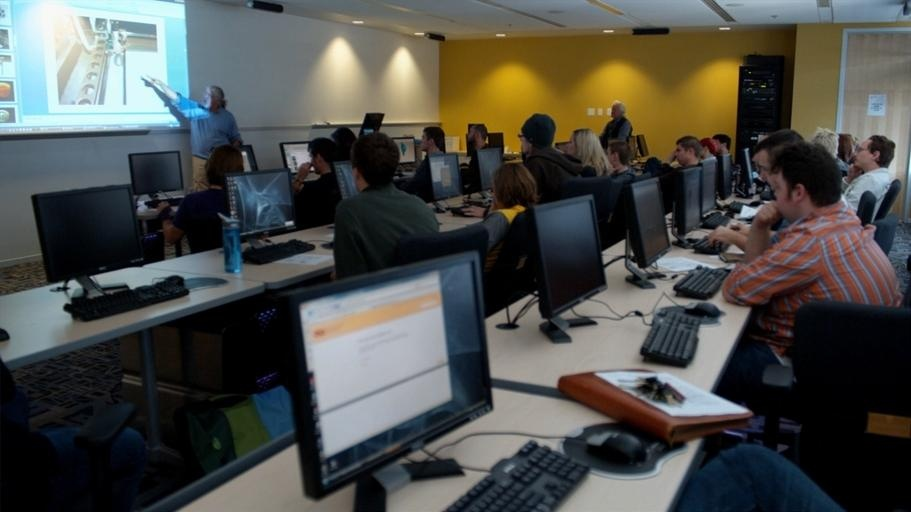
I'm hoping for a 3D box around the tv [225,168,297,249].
[{"bbox_3d":[-1.501,-0.360,4.348,0.060,0.489,0.605,0,12,41],"label":"tv"}]

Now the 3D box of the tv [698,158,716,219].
[{"bbox_3d":[2.205,-0.594,4.995,0.075,0.386,0.551,-1,12,36],"label":"tv"}]

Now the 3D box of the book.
[{"bbox_3d":[0.856,0.638,2.529,0.414,0.099,0.452,-2,14,-41],"label":"book"}]

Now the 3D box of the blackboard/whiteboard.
[{"bbox_3d":[-2.307,-3.284,10.231,0.176,2.004,5.350,7,18,34],"label":"blackboard/whiteboard"}]

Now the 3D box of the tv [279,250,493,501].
[{"bbox_3d":[-0.242,0.490,2.158,0.940,0.731,0.119,-13,8,-30],"label":"tv"}]

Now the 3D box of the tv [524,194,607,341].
[{"bbox_3d":[0.603,0.087,3.142,0.342,0.765,0.767,1,15,39],"label":"tv"}]

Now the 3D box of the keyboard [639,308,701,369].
[{"bbox_3d":[1.116,0.439,2.946,0.217,0.097,0.437,5,28,28],"label":"keyboard"}]

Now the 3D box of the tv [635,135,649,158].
[{"bbox_3d":[3.651,-2.155,11.184,0.124,0.450,0.534,-6,-7,34],"label":"tv"}]

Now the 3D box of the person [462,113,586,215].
[{"bbox_3d":[0.708,-0.928,6.128,1.181,1.122,0.747,12,25,20],"label":"person"}]

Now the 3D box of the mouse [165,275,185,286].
[{"bbox_3d":[-1.782,0.157,3.635,0.094,0.061,0.067,-1,-2,11],"label":"mouse"}]

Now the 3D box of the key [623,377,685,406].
[{"bbox_3d":[0.920,0.609,2.562,0.150,0.047,0.113,23,-12,-23],"label":"key"}]

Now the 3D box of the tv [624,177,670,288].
[{"bbox_3d":[1.255,-0.127,3.753,0.294,0.787,0.723,-1,11,27],"label":"tv"}]

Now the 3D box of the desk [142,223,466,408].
[{"bbox_3d":[-1.322,0.427,4.116,1.446,0.825,1.428,3,9,30],"label":"desk"}]

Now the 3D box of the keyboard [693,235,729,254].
[{"bbox_3d":[1.960,-0.065,4.416,0.130,0.060,0.267,9,17,33],"label":"keyboard"}]
